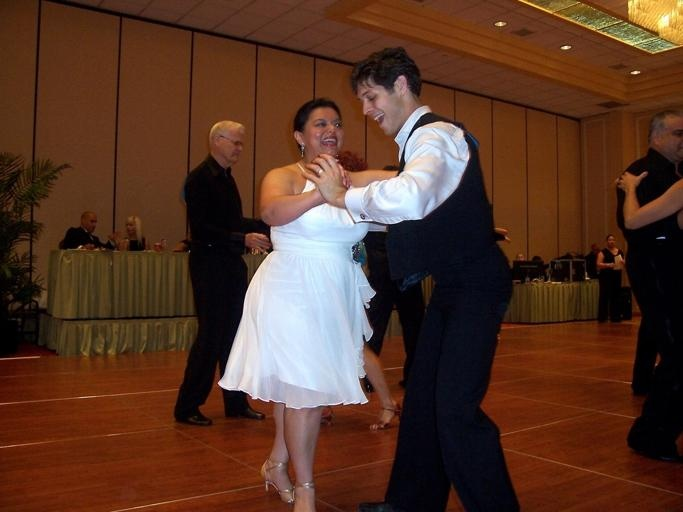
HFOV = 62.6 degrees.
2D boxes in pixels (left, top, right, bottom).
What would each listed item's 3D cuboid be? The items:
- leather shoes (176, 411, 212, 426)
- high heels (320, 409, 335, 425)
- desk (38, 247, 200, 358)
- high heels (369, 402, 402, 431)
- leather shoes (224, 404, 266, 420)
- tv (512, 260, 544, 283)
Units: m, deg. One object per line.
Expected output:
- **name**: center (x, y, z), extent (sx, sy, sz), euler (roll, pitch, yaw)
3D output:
- **leather shoes**: center (-1.031, 1.137, 3.960), extent (0.261, 0.139, 0.104), euler (-10, -15, 25)
- **high heels**: center (-0.090, 1.153, 4.036), extent (0.076, 0.123, 0.258), euler (-5, -17, 10)
- **desk**: center (-2.443, 0.593, 6.889), extent (1.443, 1.248, 1.033), euler (0, -3, -5)
- **high heels**: center (0.325, 1.123, 3.955), extent (0.098, 0.146, 0.303), euler (-21, -15, 28)
- **leather shoes**: center (-0.709, 1.147, 4.094), extent (0.298, 0.153, 0.120), euler (-4, -4, 7)
- **tv**: center (3.407, 0.290, 10.241), extent (0.432, 0.399, 0.467), euler (0, -2, 2)
